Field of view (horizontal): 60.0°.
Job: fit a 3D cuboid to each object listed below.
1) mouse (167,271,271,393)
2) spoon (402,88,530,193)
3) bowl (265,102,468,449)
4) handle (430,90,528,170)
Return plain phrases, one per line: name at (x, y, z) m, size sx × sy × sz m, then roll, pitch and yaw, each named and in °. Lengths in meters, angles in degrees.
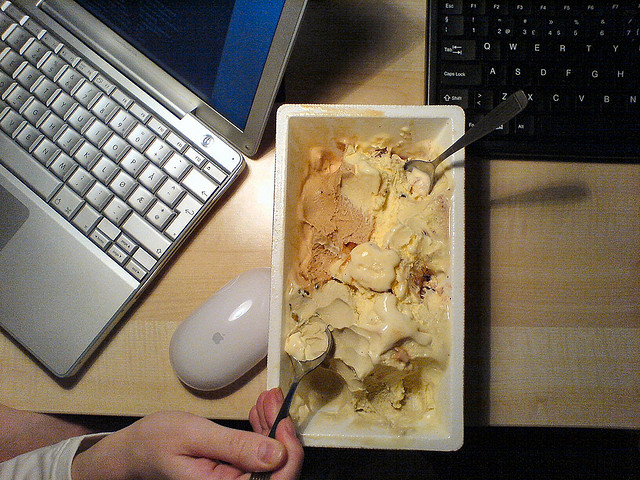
mouse at (-0.120, 0.125, 0.786) m, size 0.168 × 0.054 × 0.111 m, roll -45°, pitch 82°, yaw 3°
spoon at (0.171, -0.120, 0.725) m, size 0.021 × 0.220 × 0.073 m, roll -12°, pitch 68°, yaw -35°
bowl at (0.066, 0.042, 0.700) m, size 0.263 × 0.142 × 0.448 m, roll 4°, pitch 90°, yaw 5°
handle at (0.205, -0.149, 0.722) m, size 0.025 × 0.189 × 0.026 m, roll -22°, pitch 75°, yaw -39°
